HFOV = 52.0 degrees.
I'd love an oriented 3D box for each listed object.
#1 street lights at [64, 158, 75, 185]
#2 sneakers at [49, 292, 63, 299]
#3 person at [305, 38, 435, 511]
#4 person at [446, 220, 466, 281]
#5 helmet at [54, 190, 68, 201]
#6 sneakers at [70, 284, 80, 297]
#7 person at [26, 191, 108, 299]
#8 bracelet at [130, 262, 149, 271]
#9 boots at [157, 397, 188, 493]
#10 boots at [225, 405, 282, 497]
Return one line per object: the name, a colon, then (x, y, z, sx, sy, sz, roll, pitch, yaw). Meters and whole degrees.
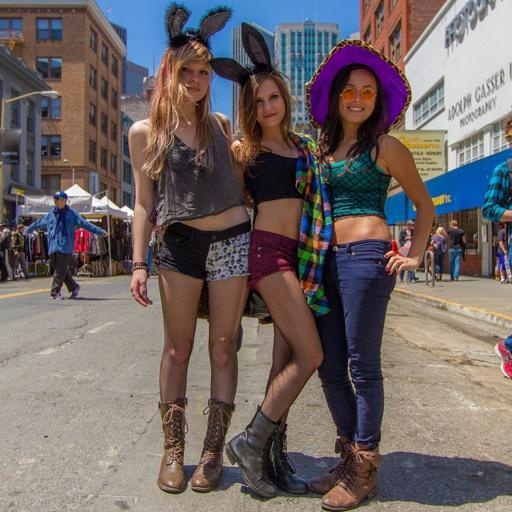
street lights: (-14.258, -6.565, 40.473, 0.896, 2.006, 0.461, 1, 2, 10)
sneakers: (-3.922, 0.786, 10.442, 0.095, 0.131, 0.285, 6, 4, 11)
person: (0.514, 0.004, 2.485, 0.575, 2.107, 0.721, 1, 2, 5)
person: (6.405, -0.178, 16.845, 0.501, 1.922, 1.140, 2, 2, 22)
helmet: (-3.829, -1.226, 10.377, 0.221, 0.269, 0.302, -1, -6, -20)
sneakers: (-3.748, 0.707, 10.935, 0.096, 0.250, 0.078, 17, -19, -18)
person: (-3.850, -0.229, 10.490, 1.126, 2.173, 1.227, 0, 3, -28)
bracelet: (-0.578, 0.050, 2.673, 0.056, 0.031, 0.047, 1, 2, 19)
boots: (-0.383, 0.863, 2.440, 0.128, 0.340, 0.315, 1, 2, -10)
boots: (-0.024, 0.869, 2.354, 0.253, 0.358, 0.164, 1, 2, 6)
